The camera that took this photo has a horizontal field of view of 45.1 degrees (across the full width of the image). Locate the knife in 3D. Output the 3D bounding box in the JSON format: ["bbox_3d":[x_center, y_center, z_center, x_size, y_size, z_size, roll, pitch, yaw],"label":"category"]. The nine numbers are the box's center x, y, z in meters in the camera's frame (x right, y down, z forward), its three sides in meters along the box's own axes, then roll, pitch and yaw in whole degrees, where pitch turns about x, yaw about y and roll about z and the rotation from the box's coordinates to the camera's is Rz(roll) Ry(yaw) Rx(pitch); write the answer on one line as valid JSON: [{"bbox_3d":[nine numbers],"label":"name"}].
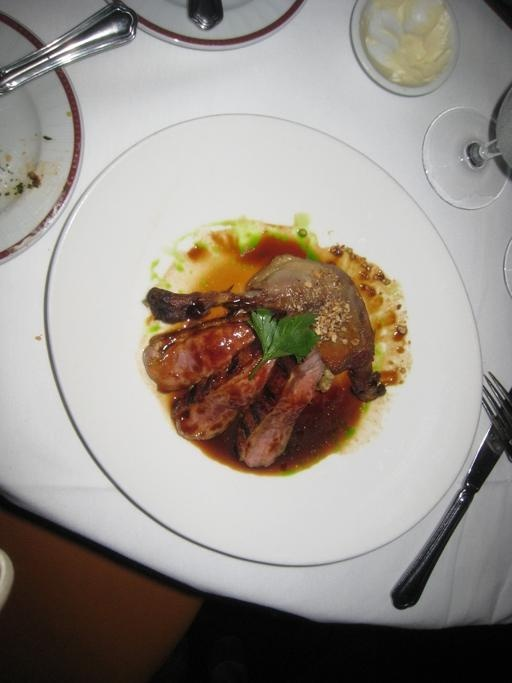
[{"bbox_3d":[0.562,0.450,1.820,0.090,0.044,0.770,30,83,-15],"label":"knife"}]
